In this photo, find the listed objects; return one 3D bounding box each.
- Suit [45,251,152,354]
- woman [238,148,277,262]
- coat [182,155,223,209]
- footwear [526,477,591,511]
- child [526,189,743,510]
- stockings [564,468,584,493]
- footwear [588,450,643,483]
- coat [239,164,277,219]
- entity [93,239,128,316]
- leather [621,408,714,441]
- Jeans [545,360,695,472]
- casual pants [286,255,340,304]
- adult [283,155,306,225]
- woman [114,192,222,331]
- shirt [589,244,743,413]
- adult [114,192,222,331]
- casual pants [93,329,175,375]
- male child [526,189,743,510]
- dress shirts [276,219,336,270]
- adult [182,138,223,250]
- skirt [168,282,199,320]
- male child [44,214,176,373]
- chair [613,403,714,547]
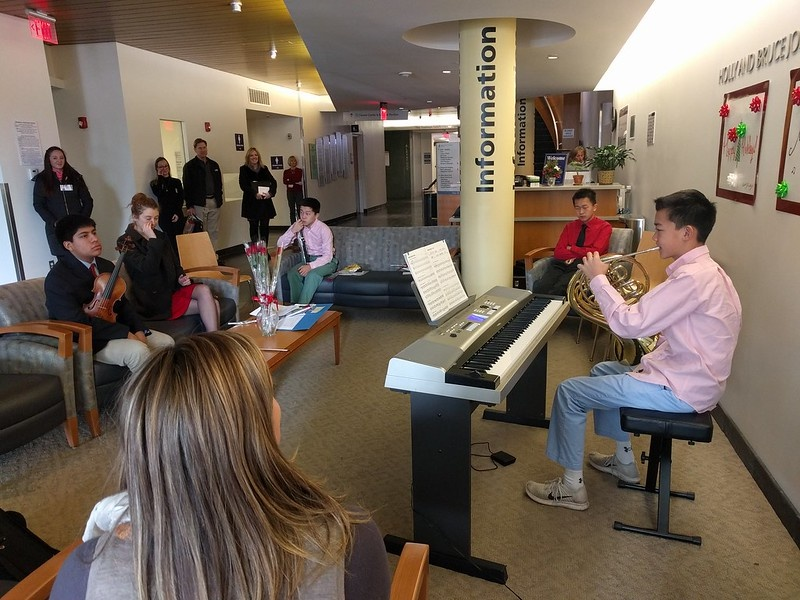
[{"bbox_3d":[-2.193,-0.003,3.693,0.457,0.920,0.269,12,-24,-39],"label":"Suit"},{"bbox_3d":[-2.448,-1.700,9.288,0.537,1.669,0.498,-7,21,-20],"label":"woman"},{"bbox_3d":[-3.129,-1.829,8.395,0.377,0.853,0.719,8,18,27],"label":"coat"},{"bbox_3d":[0.868,1.043,2.923,0.318,0.158,0.144,7,9,15],"label":"footwear"},{"bbox_3d":[1.253,0.265,2.879,0.922,1.734,0.679,4,12,27],"label":"child"},{"bbox_3d":[0.922,0.948,2.828,0.111,0.128,0.091,-4,0,32],"label":"stockings"},{"bbox_3d":[1.251,0.933,3.142,0.115,0.151,0.318,-2,11,-31],"label":"footwear"},{"bbox_3d":[-2.453,-1.809,9.142,0.616,0.941,0.715,-6,15,-10],"label":"coat"},{"bbox_3d":[-2.027,-0.114,3.794,0.133,0.475,0.176,1,-18,37],"label":"entity"},{"bbox_3d":[1.264,0.591,2.516,0.218,0.058,0.222,2,4,25],"label":"leather"},{"bbox_3d":[1.135,0.553,2.762,0.549,0.408,0.556,12,22,36],"label":"Jeans"},{"bbox_3d":[-0.938,-0.209,5.897,0.556,0.391,0.325,-17,21,-41],"label":"casual pants"},{"bbox_3d":[-2.244,-2.284,11.381,0.442,1.588,0.377,-4,36,-13],"label":"adult"},{"bbox_3d":[-1.937,-0.228,4.620,0.874,1.287,0.515,6,13,9],"label":"woman"},{"bbox_3d":[1.352,0.098,2.873,0.743,0.889,0.637,13,6,31],"label":"shirt"},{"bbox_3d":[-1.916,-0.235,4.600,0.903,1.302,0.521,8,18,15],"label":"adult"},{"bbox_3d":[-1.555,0.293,3.021,0.295,0.137,0.317,-3,5,27],"label":"casual pants"},{"bbox_3d":[1.270,0.272,2.851,0.866,1.714,0.666,5,11,29],"label":"male child"},{"bbox_3d":[-0.985,-0.523,5.860,0.546,0.601,0.274,25,7,3],"label":"dress shirts"},{"bbox_3d":[-3.138,-1.648,8.623,0.577,1.956,0.404,-23,45,-38],"label":"adult"},{"bbox_3d":[-1.884,0.025,4.603,0.159,0.321,0.087,14,-10,-13],"label":"skirt"},{"bbox_3d":[-2.074,-0.030,3.833,0.604,1.441,0.407,4,-12,-41],"label":"male child"},{"bbox_3d":[1.371,0.842,2.792,0.398,0.598,0.599,2,6,26],"label":"chair"}]
